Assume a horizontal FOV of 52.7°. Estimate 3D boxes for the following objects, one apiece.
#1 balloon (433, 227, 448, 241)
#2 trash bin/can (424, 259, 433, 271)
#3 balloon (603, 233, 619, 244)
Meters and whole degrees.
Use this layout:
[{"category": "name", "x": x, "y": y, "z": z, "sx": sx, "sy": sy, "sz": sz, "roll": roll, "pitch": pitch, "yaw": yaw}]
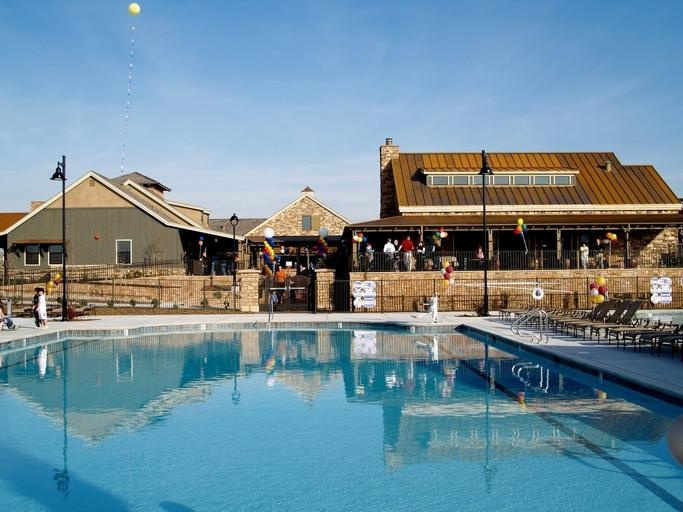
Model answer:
[{"category": "balloon", "x": 4.869, "y": -1.122, "z": 34.434, "sx": 0.667, "sy": 0.455, "sz": 1.225, "roll": 3, "pitch": 0, "yaw": 7}, {"category": "trash bin/can", "x": 4.293, "y": 0.422, "z": 33.910, "sx": 0.559, "sy": 0.765, "sz": 0.445, "roll": 3, "pitch": 2, "yaw": 9}, {"category": "balloon", "x": 14.346, "y": -0.962, "z": 36.931, "sx": 0.488, "sy": 0.905, "sz": 0.458, "roll": -5, "pitch": 7, "yaw": 4}]
